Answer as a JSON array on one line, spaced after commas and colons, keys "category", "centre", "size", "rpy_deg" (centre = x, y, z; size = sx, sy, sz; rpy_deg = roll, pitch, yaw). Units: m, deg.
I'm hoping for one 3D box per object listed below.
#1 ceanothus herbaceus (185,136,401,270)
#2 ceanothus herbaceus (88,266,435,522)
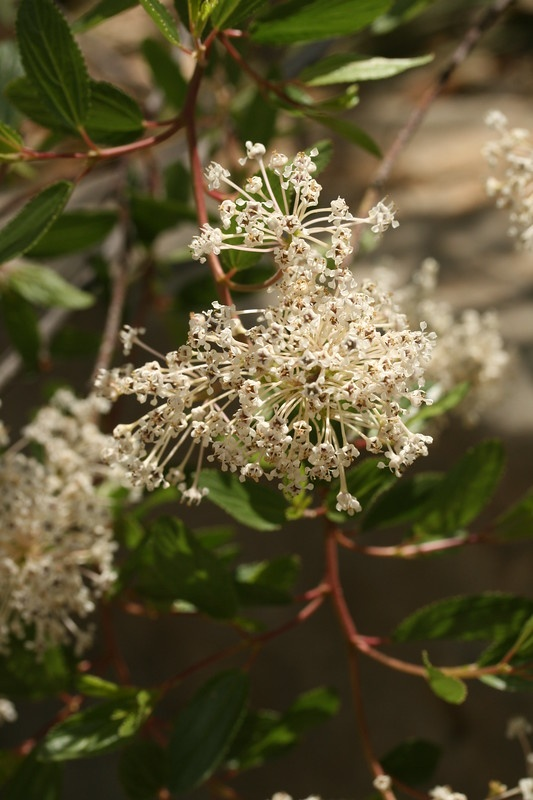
[{"category": "ceanothus herbaceus", "centre": [0.018, -0.149, 0.587], "size": [0.146, 0.111, 0.043], "rpy_deg": [7, 87, -38]}, {"category": "ceanothus herbaceus", "centre": [0.014, -0.014, 0.640], "size": [0.307, 0.145, 0.180], "rpy_deg": [-3, 77, -1]}]
